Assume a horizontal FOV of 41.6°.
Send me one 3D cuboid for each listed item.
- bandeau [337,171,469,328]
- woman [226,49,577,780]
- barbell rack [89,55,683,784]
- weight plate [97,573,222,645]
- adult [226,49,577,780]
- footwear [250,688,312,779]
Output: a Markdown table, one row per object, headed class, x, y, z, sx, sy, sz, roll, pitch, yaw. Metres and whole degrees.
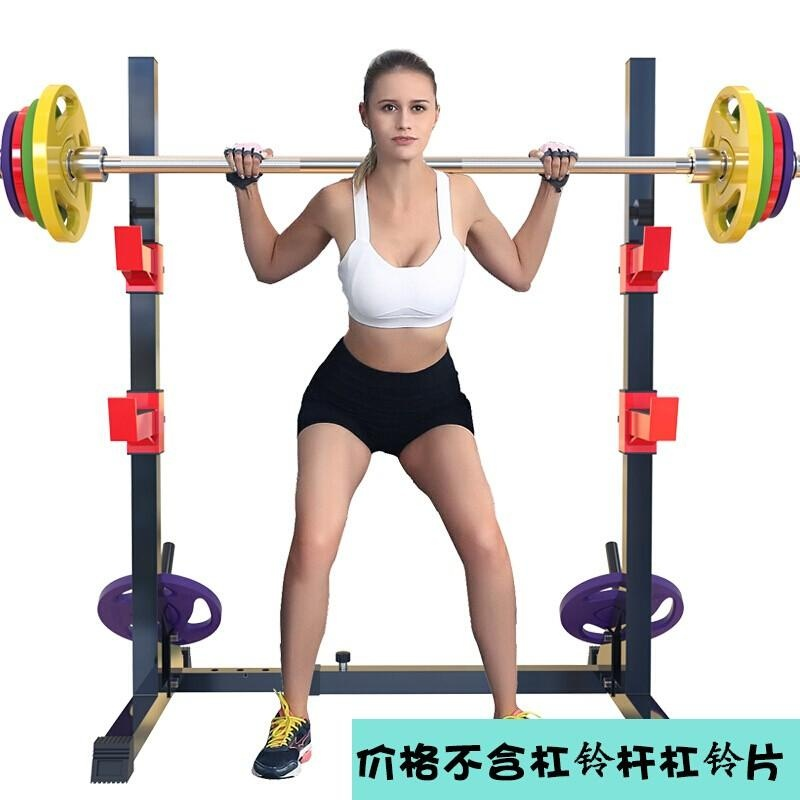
| class | x | y | z | sx | sy | sz | roll | pitch | yaw |
| --- | --- | --- | --- | --- | --- | --- | --- | --- | --- |
| bandeau | 0.003 | -0.378 | 2.725 | 0.321 | 0.379 | 0.247 | 0 | -39 | -2 |
| woman | -0.028 | 0.047 | 2.639 | 0.916 | 1.467 | 1.201 | 4 | -39 | -8 |
| barbell rack | 0.000 | 0.017 | 2.993 | 1.976 | 1.851 | 1.384 | 0 | -2 | -2 |
| weight plate | -0.730 | 0.605 | 3.206 | 0.322 | 0.075 | 0.310 | -1 | 6 | -23 |
| adult | -0.028 | 0.047 | 2.639 | 0.916 | 1.467 | 1.201 | 4 | -39 | -8 |
| footwear | -0.287 | 0.833 | 2.618 | 0.123 | 0.201 | 0.072 | 7 | -40 | -11 |
